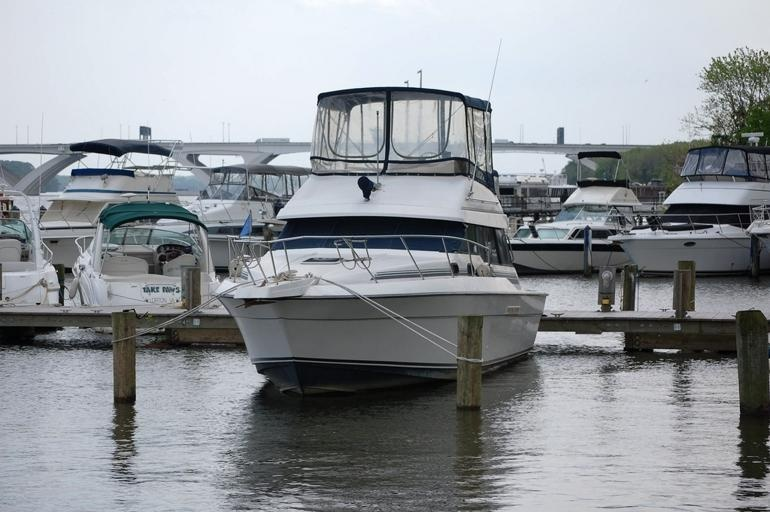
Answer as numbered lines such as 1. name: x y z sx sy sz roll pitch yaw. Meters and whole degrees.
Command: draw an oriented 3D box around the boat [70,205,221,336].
1. boat: -6.064 0.260 41.531 3.709 2.495 6.100 1 12 -18
